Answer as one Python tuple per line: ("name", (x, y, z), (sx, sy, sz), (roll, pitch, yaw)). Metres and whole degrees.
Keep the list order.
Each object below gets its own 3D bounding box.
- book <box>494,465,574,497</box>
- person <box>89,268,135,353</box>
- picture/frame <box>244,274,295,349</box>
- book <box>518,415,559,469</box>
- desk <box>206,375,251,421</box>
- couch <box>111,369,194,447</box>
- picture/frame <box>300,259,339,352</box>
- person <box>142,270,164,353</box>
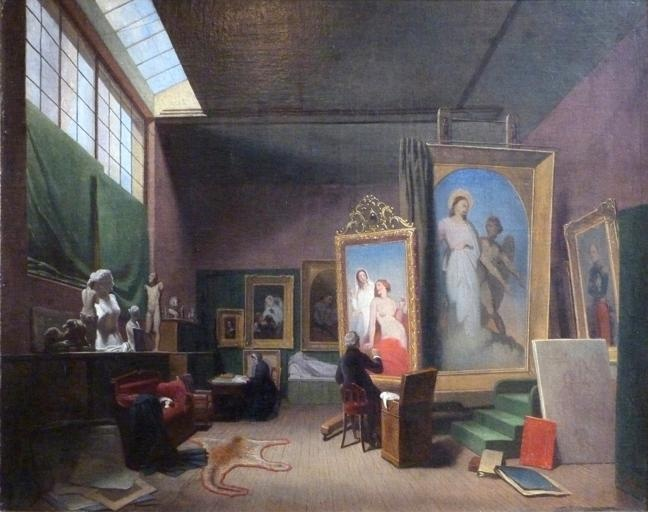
("book", (1.937, 2.109, 6.547), (0.643, 0.279, 0.243), (-4, -8, 15))
("person", (-2.147, 0.540, 6.965), (0.315, 0.782, 0.184), (1, -7, -18))
("picture/frame", (-0.620, 0.622, 7.836), (0.806, 1.121, 0.082), (0, 0, -13))
("book", (2.045, 1.817, 6.734), (0.404, 0.584, 0.060), (6, -15, 4))
("desk", (-0.928, 1.413, 7.023), (0.446, 0.437, 0.394), (0, -15, -4))
("couch", (-1.568, 1.509, 6.990), (0.662, 0.867, 0.739), (-6, -6, 12))
("picture/frame", (-0.051, 0.616, 7.858), (0.415, 0.901, 0.728), (-1, -8, -2))
("person", (-1.700, 0.558, 7.036), (0.178, 0.775, 0.272), (2, -8, -25))
